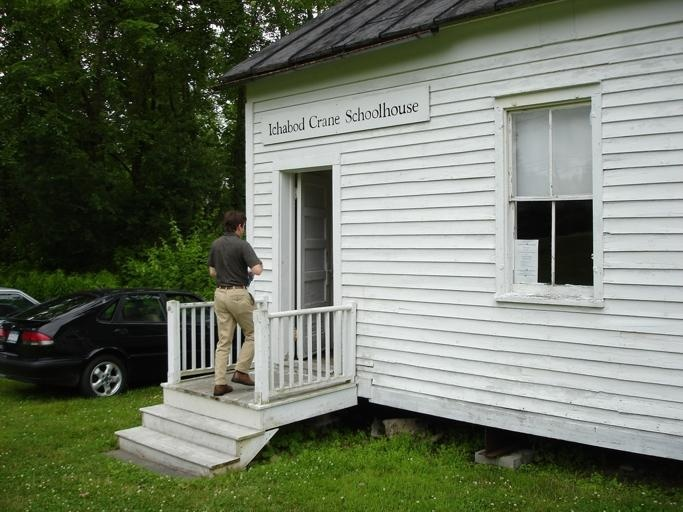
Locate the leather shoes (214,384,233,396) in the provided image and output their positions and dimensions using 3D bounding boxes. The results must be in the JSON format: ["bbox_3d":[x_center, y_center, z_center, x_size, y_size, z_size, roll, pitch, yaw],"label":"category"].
[{"bbox_3d":[-1.510,1.694,7.714,0.107,0.175,0.272,3,9,27],"label":"leather shoes"}]

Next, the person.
[{"bbox_3d":[-1.372,0.602,7.817,0.662,2.317,0.687,-3,10,-12],"label":"person"}]
